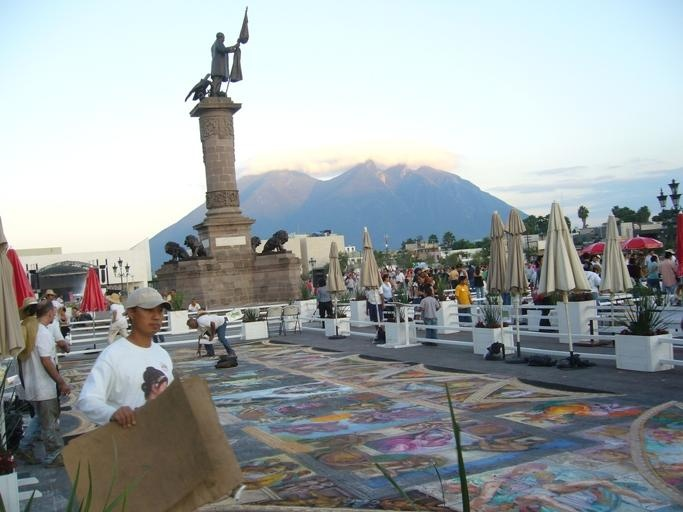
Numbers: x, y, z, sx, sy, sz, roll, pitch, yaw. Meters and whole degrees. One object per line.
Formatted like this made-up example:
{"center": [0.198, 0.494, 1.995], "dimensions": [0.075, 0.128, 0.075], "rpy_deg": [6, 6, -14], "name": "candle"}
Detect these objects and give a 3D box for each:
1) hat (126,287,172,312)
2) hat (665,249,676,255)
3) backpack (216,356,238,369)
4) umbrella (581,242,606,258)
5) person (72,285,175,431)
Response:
{"center": [-1.569, 0.360, 4.321], "dimensions": [0.286, 0.140, 0.205], "rpy_deg": [-3, -4, 27], "name": "hat"}
{"center": [11.974, -0.099, 19.346], "dimensions": [0.401, 0.119, 0.403], "rpy_deg": [1, 4, 34], "name": "hat"}
{"center": [-3.315, 3.060, 15.173], "dimensions": [0.421, 0.177, 0.414], "rpy_deg": [0, 0, -18], "name": "backpack"}
{"center": [13.151, -0.315, 27.662], "dimensions": [1.411, 0.558, 1.376], "rpy_deg": [-6, 2, -27], "name": "umbrella"}
{"center": [-1.696, 0.760, 4.246], "dimensions": [0.407, 1.085, 0.810], "rpy_deg": [-5, 0, 40], "name": "person"}
